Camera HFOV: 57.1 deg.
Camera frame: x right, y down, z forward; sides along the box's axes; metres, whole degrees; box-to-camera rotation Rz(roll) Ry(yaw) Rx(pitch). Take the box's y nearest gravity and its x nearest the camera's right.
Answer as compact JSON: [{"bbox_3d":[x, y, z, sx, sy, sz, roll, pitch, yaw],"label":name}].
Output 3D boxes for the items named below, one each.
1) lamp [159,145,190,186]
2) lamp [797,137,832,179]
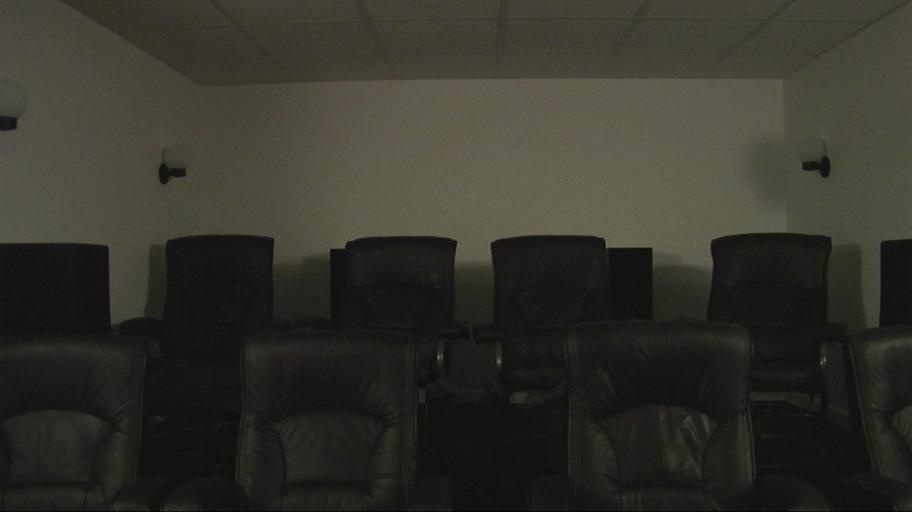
[{"bbox_3d":[-2.497,-0.797,7.434,0.276,0.363,0.123,6,-9,-31],"label":"lamp"},{"bbox_3d":[3.135,-0.843,7.322,0.189,0.337,0.237,6,-9,-32],"label":"lamp"}]
